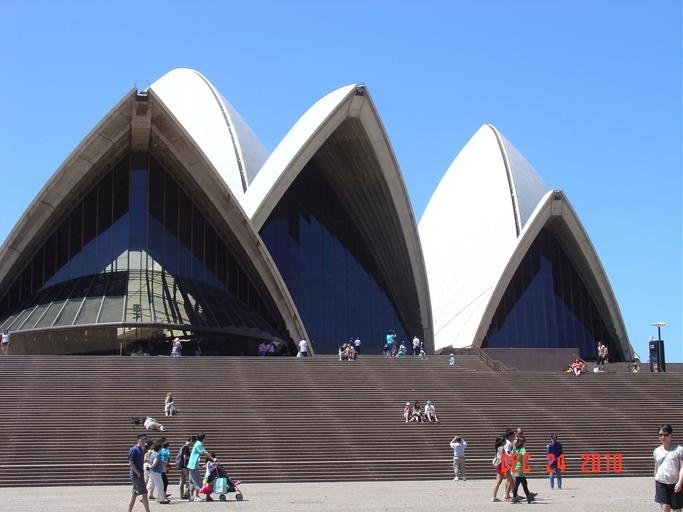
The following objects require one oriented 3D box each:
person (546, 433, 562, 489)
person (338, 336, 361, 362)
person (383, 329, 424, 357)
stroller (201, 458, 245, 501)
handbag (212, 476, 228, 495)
[{"bbox_3d":[5.083,4.856,18.054,0.330,1.278,1.407,-5,-17,14],"label":"person"},{"bbox_3d":[0.284,4.064,33.168,0.345,0.973,1.273,11,-15,5],"label":"person"},{"bbox_3d":[2.869,4.413,37.497,1.055,1.201,1.761,-1,-2,28],"label":"person"},{"bbox_3d":[-2.489,4.740,16.284,0.880,0.968,0.730,11,-26,-25],"label":"stroller"},{"bbox_3d":[-2.582,4.811,15.960,0.268,0.410,0.172,-4,-39,0],"label":"handbag"}]
